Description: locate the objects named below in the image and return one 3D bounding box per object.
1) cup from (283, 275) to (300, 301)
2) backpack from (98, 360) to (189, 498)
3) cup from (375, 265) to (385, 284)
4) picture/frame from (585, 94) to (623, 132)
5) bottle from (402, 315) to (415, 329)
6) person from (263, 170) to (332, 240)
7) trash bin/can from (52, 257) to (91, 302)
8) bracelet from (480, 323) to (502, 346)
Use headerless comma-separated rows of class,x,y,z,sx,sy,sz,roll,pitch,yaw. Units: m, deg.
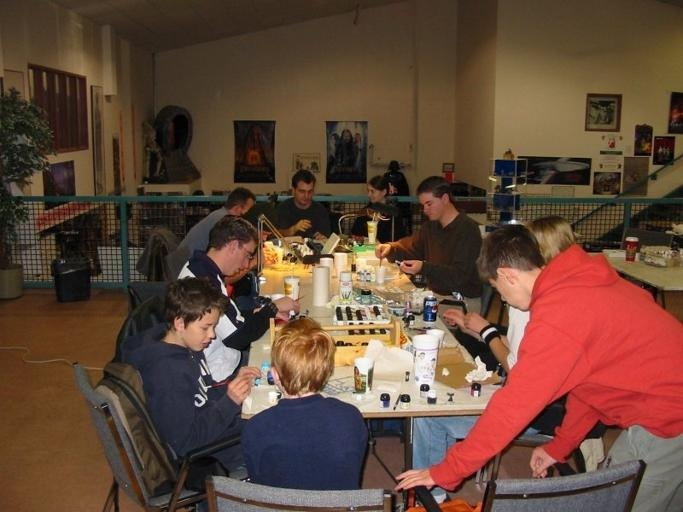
cup,-0.347,0.240,3.907,0.144,0.228,0.144,0,0,0
backpack,-0.825,0.799,2.554,0.203,0.599,0.418,-21,25,-32
cup,0.315,0.155,4.493,0.107,0.177,0.118,3,7,0
picture/frame,4.980,-2.796,10.421,0.681,0.754,0.076,0,7,-3
bottle,0.416,0.406,3.375,0.076,0.078,0.050,-1,6,7
person,-0.452,-0.632,6.602,0.613,0.877,0.906,-6,28,-19
trash bin/can,-3.495,0.312,7.334,0.651,0.653,0.482,0,-3,-22
bracelet,0.851,0.450,3.113,0.089,0.069,0.120,-4,5,4
